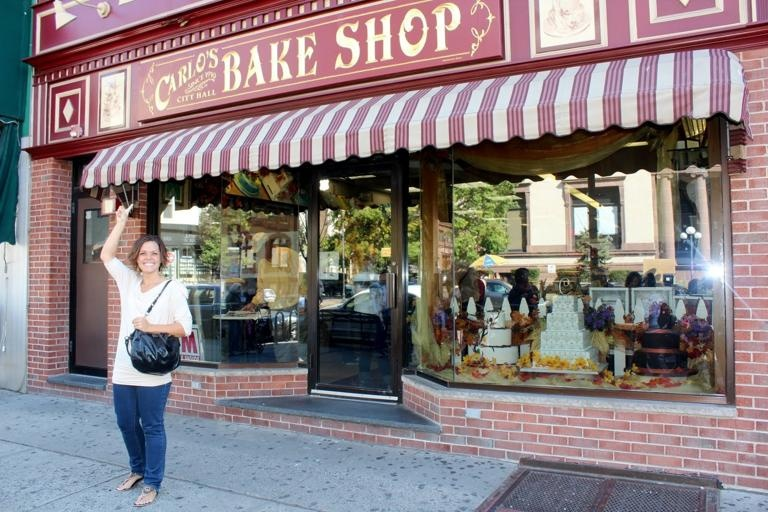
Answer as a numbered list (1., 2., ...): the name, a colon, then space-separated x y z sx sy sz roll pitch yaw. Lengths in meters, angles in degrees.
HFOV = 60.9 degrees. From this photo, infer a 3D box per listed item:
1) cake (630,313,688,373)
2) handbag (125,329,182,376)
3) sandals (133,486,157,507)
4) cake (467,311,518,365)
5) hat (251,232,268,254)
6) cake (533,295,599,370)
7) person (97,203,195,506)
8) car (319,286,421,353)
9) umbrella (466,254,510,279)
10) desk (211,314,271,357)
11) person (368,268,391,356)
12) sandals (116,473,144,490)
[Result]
1. cake: 3.393 1.130 8.125 0.543 0.567 0.555 -1 -13 11
2. handbag: -2.495 1.005 7.145 0.650 0.638 0.336 5 -15 -42
3. sandals: -2.604 2.603 7.158 0.286 0.166 0.153 -7 9 -42
4. cake: 1.543 1.091 8.860 0.606 0.623 0.601 -2 20 18
5. hat: -1.957 -0.203 10.214 0.220 0.324 0.088 14 6 22
6. cake: 2.450 0.942 8.815 0.963 1.327 0.763 0 -2 21
7. person: -2.676 1.066 7.286 1.008 3.183 0.706 3 7 32
8. car: -0.215 1.021 10.008 0.948 0.832 1.713 8 -2 -36
9. umbrella: 1.378 0.103 8.748 0.320 0.222 0.320 -15 25 11
10. desk: -2.178 1.167 10.081 0.708 0.523 0.663 2 5 25
11. person: -0.051 0.787 9.433 0.393 1.186 0.173 5 9 44
12. sandals: -2.904 2.547 7.420 0.145 0.114 0.287 -5 -5 19
